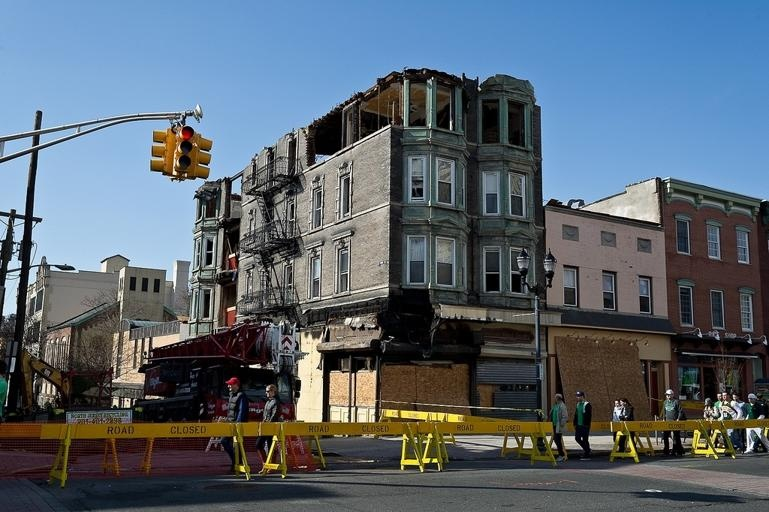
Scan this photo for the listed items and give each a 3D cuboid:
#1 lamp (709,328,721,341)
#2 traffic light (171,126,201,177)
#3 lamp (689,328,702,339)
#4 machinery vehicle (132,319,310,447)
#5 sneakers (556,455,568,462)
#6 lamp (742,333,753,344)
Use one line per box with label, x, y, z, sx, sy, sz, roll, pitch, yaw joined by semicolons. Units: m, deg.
lamp;19.233;4.583;49.402;0.365;0.462;1.064;-4;-19;7
traffic light;-5.954;-3.110;25.379;0.740;1.656;0.514;2;-14;-8
lamp;18.034;4.426;48.979;0.982;0.638;0.384;10;-17;-36
machinery vehicle;-7.562;5.248;36.828;3.644;4.133;12.223;8;-15;-36
sneakers;6.274;7.153;30.031;0.178;0.214;0.497;-3;-25;3
lamp;21.691;4.903;50.631;0.307;0.625;1.131;-8;-15;31
